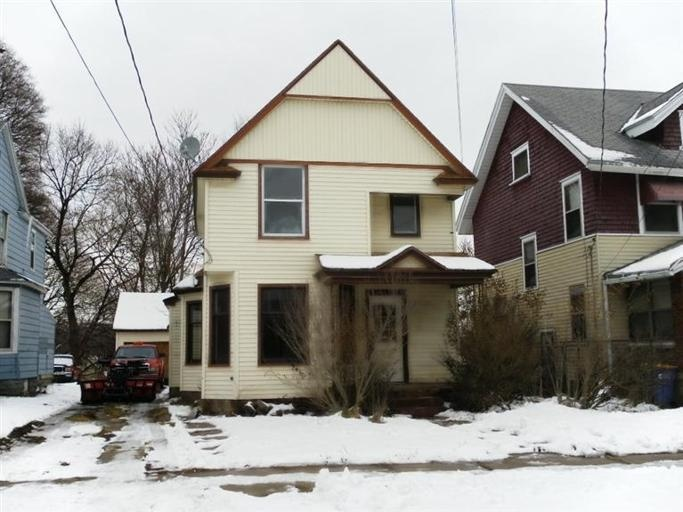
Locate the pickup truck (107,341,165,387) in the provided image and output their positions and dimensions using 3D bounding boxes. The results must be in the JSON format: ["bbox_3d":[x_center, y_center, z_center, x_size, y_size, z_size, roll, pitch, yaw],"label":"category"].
[{"bbox_3d":[-7.609,4.036,26.991,1.388,1.141,2.541,1,-14,-8],"label":"pickup truck"}]

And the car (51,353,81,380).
[{"bbox_3d":[-16.092,6.677,41.811,1.143,1.706,2.799,-2,1,-21],"label":"car"}]
